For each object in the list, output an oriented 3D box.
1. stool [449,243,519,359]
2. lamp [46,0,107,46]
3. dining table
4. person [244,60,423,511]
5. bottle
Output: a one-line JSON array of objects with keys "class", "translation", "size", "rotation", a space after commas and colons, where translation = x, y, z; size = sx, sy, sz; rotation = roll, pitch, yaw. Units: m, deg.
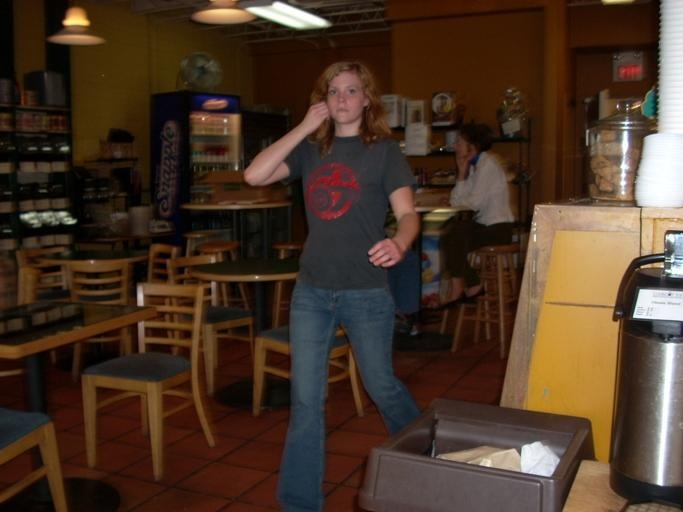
[{"class": "stool", "translation": [1.266, 0.294, 5.323], "size": [0.525, 0.854, 1.404], "rotation": [3, 9, 17]}, {"class": "lamp", "translation": [-2.517, -2.039, 5.608], "size": [0.549, 0.336, 0.535], "rotation": [-8, 14, -39]}, {"class": "dining table", "translation": [-1.079, -0.404, 6.630], "size": [0.876, 0.542, 0.862], "rotation": [0, 14, 5]}, {"class": "person", "translation": [-0.030, 0.102, 2.407], "size": [0.687, 1.748, 0.556], "rotation": [1, 9, 10]}, {"class": "bottle", "translation": [0.817, -0.297, 1.782], "size": [0.101, 0.271, 0.190], "rotation": [-4, 10, -25]}]
